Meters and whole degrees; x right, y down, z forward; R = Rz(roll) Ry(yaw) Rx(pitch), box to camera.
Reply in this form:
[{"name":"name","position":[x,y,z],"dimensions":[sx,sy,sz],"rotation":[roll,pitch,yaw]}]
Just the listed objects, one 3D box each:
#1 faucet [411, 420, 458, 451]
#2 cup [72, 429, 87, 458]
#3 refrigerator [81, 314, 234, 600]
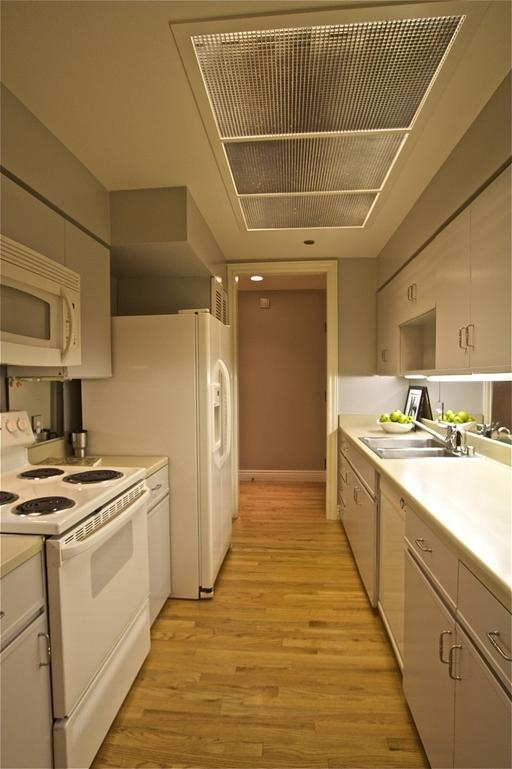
[{"name":"faucet","position":[1.014,0.290,2.918],"dimensions":[0.085,0.107,0.343],"rotation":[-1,9,-4]},{"name":"cup","position":[-0.875,0.295,2.550],"dimensions":[0.071,0.131,0.121],"rotation":[-1,3,-16]},{"name":"refrigerator","position":[-0.578,0.395,3.709],"dimensions":[0.913,2.685,1.243],"rotation":[-1,0,3]}]
